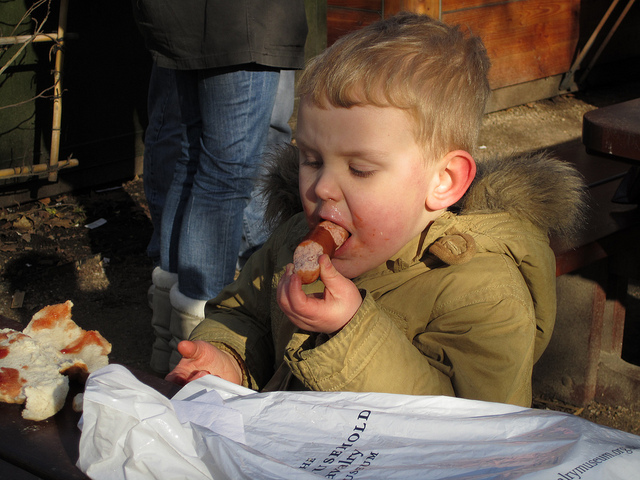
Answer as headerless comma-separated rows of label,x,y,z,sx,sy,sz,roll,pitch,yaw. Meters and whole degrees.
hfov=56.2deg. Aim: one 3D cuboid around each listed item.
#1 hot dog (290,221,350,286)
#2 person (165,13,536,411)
hot dog,0.001,0.024,1.638,0.100,0.076,0.216,39,27,-8
person,0.103,-0.057,1.731,0.974,1.165,0.787,1,15,20
